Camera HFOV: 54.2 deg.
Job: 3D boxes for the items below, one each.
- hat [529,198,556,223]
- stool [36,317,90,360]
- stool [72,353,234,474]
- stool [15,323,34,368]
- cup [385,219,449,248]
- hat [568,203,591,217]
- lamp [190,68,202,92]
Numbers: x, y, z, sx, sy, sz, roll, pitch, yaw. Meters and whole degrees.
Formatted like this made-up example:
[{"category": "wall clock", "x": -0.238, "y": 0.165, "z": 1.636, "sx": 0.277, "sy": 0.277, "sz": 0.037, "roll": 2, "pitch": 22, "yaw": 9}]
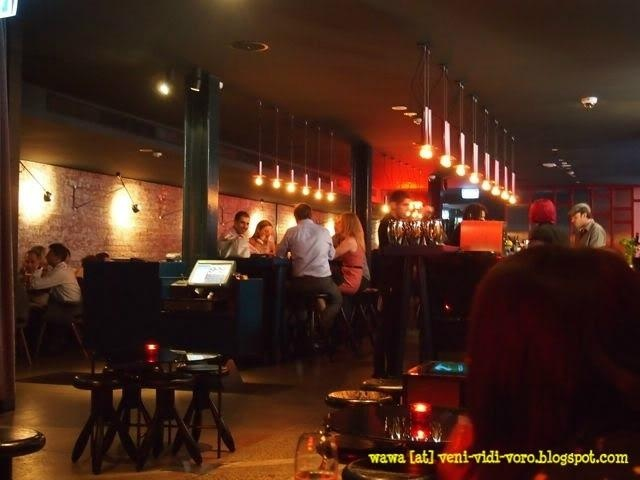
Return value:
[{"category": "hat", "x": 1.512, "y": -0.198, "z": 4.297, "sx": 0.144, "sy": 0.194, "sz": 0.195, "roll": 1, "pitch": -1, "yaw": 14}, {"category": "stool", "x": -3.193, "y": 1.222, "z": 7.718, "sx": 0.615, "sy": 0.591, "sz": 0.638, "roll": 1, "pitch": -15, "yaw": -6}, {"category": "stool", "x": -0.998, "y": 0.998, "z": 3.787, "sx": 0.753, "sy": 0.528, "sz": 0.782, "roll": 0, "pitch": -3, "yaw": -1}, {"category": "stool", "x": -3.552, "y": 1.278, "z": 7.481, "sx": 0.098, "sy": 0.311, "sz": 0.686, "roll": -17, "pitch": -38, "yaw": -26}, {"category": "cup", "x": 0.574, "y": -0.040, "z": 3.773, "sx": 0.334, "sy": 0.174, "sz": 0.188, "roll": 1, "pitch": -3, "yaw": 6}, {"category": "hat", "x": 2.739, "y": -0.316, "z": 6.551, "sx": 0.260, "sy": 0.143, "sz": 0.200, "roll": -1, "pitch": 1, "yaw": 27}, {"category": "lamp", "x": -1.595, "y": -2.065, "z": 8.044, "sx": 0.155, "sy": 0.233, "sz": 0.152, "roll": 2, "pitch": -4, "yaw": -15}]
